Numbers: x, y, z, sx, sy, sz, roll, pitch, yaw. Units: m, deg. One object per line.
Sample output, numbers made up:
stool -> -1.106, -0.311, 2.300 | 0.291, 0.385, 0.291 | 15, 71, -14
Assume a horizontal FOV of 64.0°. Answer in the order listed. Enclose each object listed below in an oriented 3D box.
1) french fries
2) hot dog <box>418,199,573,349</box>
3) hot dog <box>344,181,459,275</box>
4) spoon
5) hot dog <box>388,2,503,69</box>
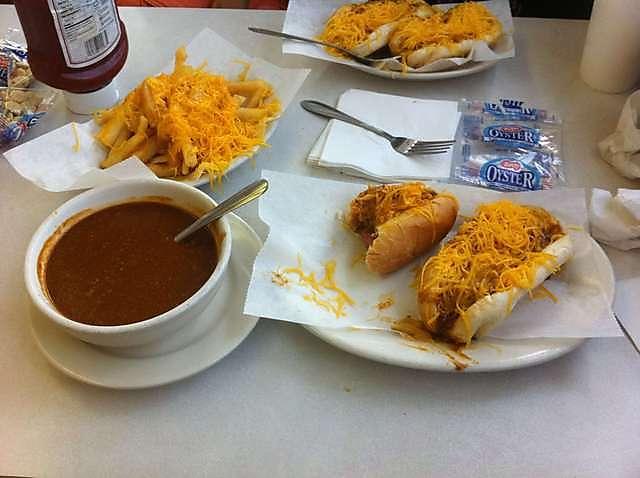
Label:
french fries -> -0.374, -0.331, 1.468 | 0.385, 0.117, 0.370 | -36, 64, -25
hot dog -> 0.430, 0.060, 1.250 | 0.254, 0.137, 0.453 | 32, 57, 32
hot dog -> 0.227, 0.008, 1.337 | 0.247, 0.103, 0.236 | -24, 44, 1
spoon -> 0.027, -0.678, 1.777 | 0.537, 0.062, 0.075 | 12, 20, -6
hot dog -> 0.438, -0.646, 1.785 | 0.338, 0.121, 0.244 | -14, 46, -5
